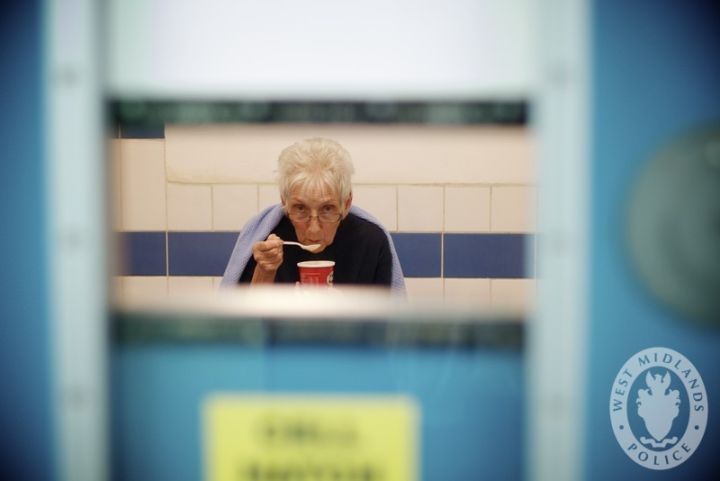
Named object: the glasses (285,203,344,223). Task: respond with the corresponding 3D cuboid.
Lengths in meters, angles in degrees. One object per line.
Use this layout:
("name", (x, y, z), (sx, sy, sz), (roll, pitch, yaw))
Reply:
("glasses", (-0.113, -0.064, 2.083), (0.131, 0.043, 0.055), (1, -2, -6))

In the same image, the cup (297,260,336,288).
("cup", (-0.101, 0.076, 1.907), (0.079, 0.056, 0.096), (1, -2, -5))
